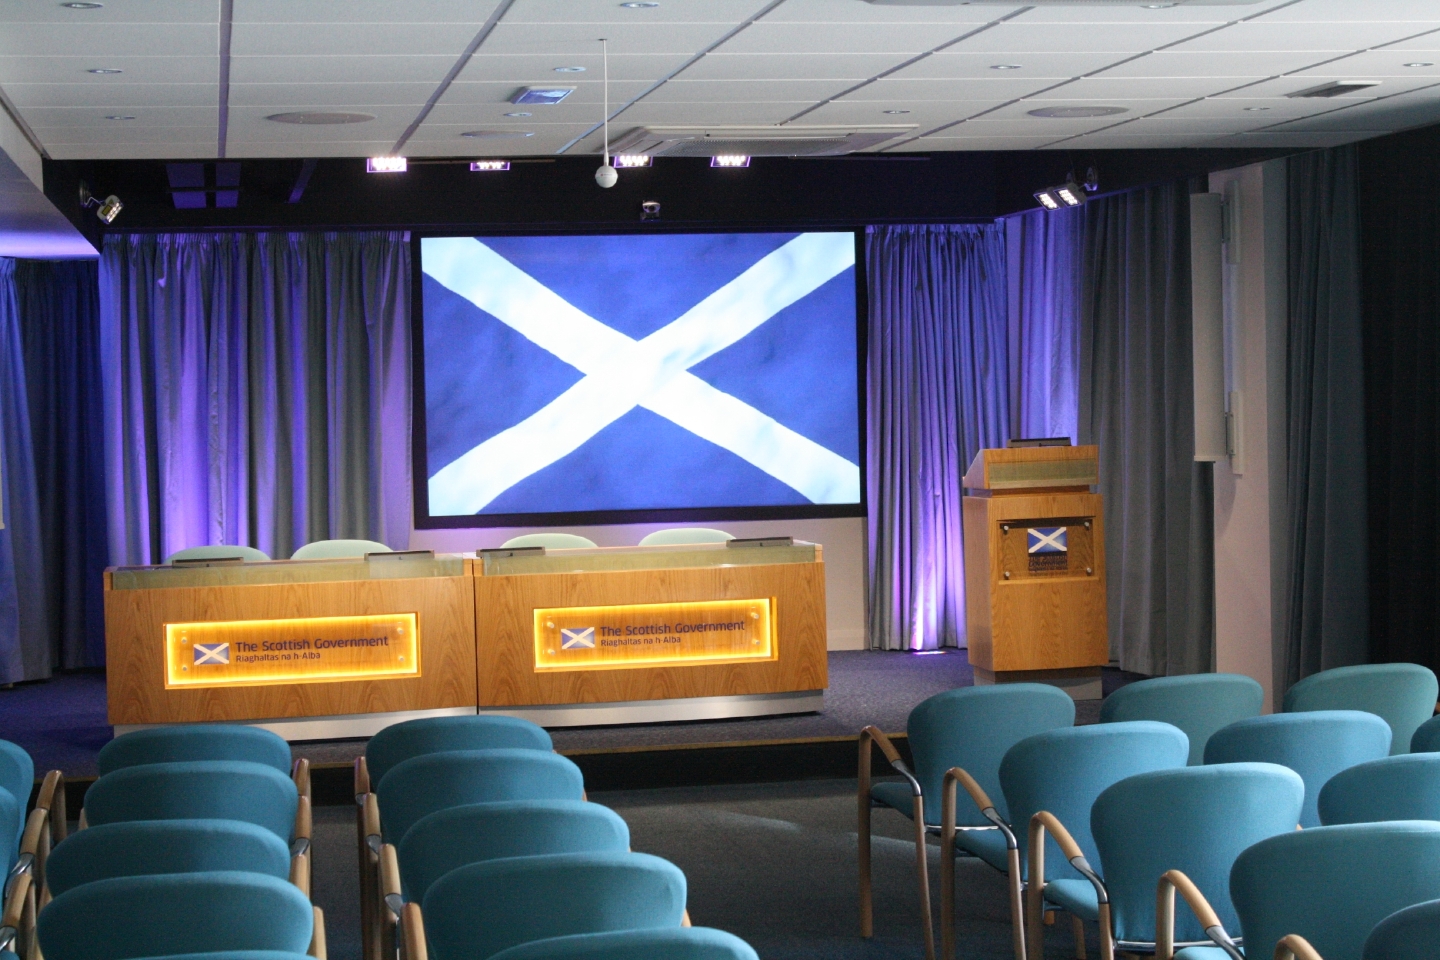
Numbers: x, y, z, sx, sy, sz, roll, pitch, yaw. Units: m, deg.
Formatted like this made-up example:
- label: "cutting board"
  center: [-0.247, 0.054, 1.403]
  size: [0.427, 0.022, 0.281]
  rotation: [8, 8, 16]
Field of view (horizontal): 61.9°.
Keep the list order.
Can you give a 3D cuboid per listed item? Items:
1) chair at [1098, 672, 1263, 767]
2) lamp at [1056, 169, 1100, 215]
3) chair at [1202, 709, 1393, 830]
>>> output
- label: "chair"
  center: [1.980, 0.956, 5.147]
  size: [0.491, 0.560, 0.458]
  rotation: [-2, 6, -4]
- label: "lamp"
  center: [2.573, -2.126, 8.610]
  size: [0.295, 0.241, 0.271]
  rotation: [3, 9, 15]
- label: "chair"
  center: [2.139, 1.016, 4.622]
  size: [0.483, 0.633, 0.482]
  rotation: [-1, 3, -3]
